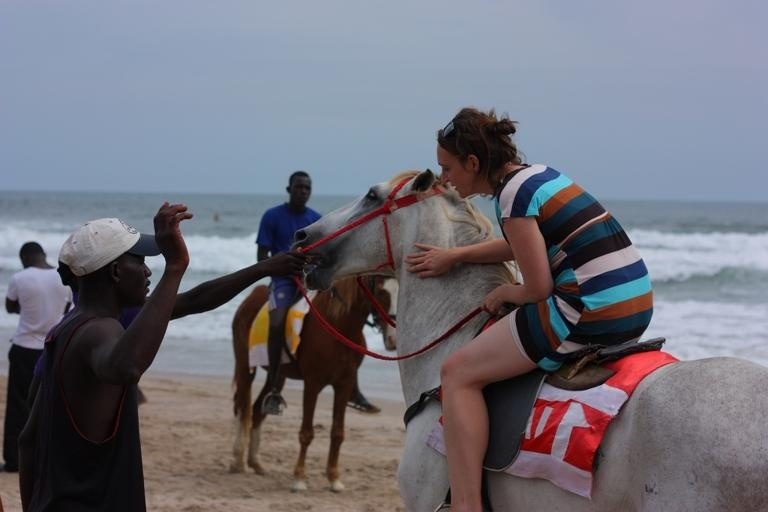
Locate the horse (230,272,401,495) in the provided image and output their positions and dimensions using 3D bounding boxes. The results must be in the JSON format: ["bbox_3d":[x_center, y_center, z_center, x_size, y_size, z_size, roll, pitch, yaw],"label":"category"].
[{"bbox_3d":[-0.916,1.429,13.955,0.940,2.626,3.305,4,-3,-41],"label":"horse"}]
